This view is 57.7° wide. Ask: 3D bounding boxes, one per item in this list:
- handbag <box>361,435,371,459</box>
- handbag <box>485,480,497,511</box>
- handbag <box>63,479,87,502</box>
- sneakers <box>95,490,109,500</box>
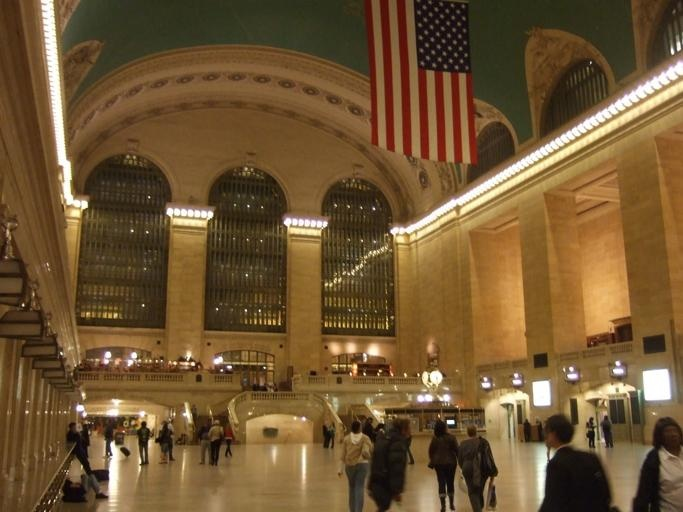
[{"bbox_3d":[0.376,2.688,8.698,0.101,0.241,0.171,8,-19,-26],"label":"handbag"},{"bbox_3d":[2.114,3.366,8.745,0.121,0.410,0.315,-8,-17,21],"label":"handbag"},{"bbox_3d":[-4.492,3.940,10.399,0.549,0.338,0.238,-11,-19,29],"label":"handbag"},{"bbox_3d":[-4.129,4.059,10.554,0.307,0.129,0.102,6,-7,-19],"label":"sneakers"}]
